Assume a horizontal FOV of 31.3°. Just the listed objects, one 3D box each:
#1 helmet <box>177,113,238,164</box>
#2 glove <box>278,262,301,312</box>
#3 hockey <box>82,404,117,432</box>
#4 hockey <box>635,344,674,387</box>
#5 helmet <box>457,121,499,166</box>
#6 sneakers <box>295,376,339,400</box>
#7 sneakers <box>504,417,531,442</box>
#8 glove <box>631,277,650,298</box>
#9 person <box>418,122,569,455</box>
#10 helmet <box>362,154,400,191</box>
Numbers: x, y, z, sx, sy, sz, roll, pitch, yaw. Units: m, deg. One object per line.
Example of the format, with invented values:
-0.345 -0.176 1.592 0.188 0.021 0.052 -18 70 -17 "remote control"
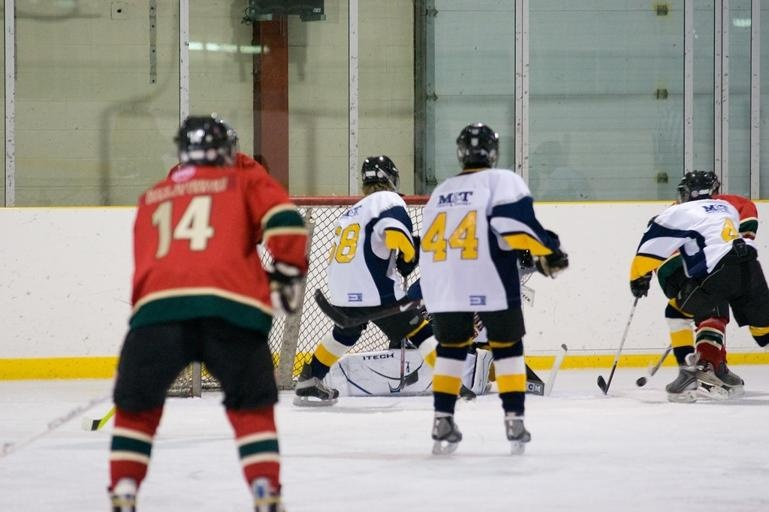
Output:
-1.099 -0.722 8.574 0.316 0.320 0.122 -2 0 0 "helmet"
-0.579 0.189 8.437 0.157 0.279 0.105 -1 10 -24 "glove"
-2.052 1.175 9.936 0.170 0.103 0.282 1 7 10 "hockey"
2.352 0.949 11.942 0.094 0.094 0.459 23 56 31 "hockey"
0.691 -0.779 9.615 0.280 0.293 0.309 2 12 10 "helmet"
-0.504 1.042 10.793 0.382 0.223 0.155 1 0 -21 "sneakers"
0.916 1.182 9.362 0.170 0.210 0.146 0 6 2 "sneakers"
1.981 0.238 10.574 0.137 0.142 0.171 4 10 38 "glove"
0.729 0.209 9.449 0.947 2.228 0.518 0 6 3 "person"
-0.006 -0.645 10.678 0.248 0.256 0.294 0 7 43 "helmet"
